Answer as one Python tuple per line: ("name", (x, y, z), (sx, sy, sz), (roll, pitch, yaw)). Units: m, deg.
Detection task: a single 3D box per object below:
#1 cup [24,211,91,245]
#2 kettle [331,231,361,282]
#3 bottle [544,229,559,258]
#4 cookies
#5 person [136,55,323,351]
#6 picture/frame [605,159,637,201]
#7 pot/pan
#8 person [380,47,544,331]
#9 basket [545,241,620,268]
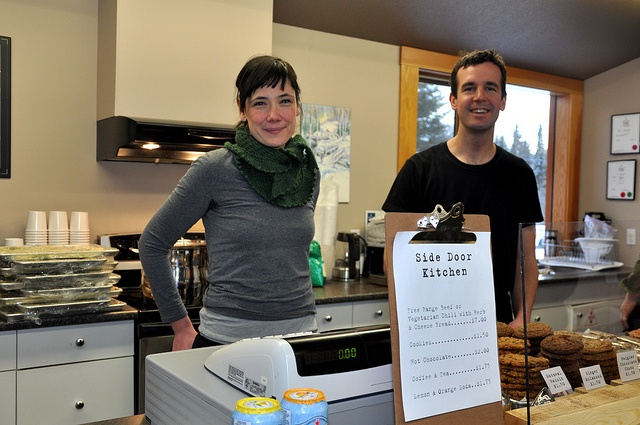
("cup", (-1.517, 0.087, 2.747), (0.317, 0.190, 0.123), (-1, 2, -30))
("kettle", (0.194, 0.314, 3.518), (0.204, 0.345, 0.270), (0, 2, 4))
("bottle", (0.720, 0.094, 1.486), (0.023, 0.089, 0.077), (2, 3, 42))
("cookies", (0.693, 0.436, 1.386), (0.329, 0.178, 0.277), (0, 2, 18))
("person", (-0.346, -0.028, 1.845), (0.662, 1.154, 0.328), (0, 2, 2))
("picture/frame", (2.794, -0.306, 4.404), (0.040, 0.380, 0.234), (-2, 3, -43))
("pot/pan", (-0.853, 0.311, 2.864), (0.421, 0.410, 0.409), (-2, 4, -45))
("person", (0.595, -0.110, 1.964), (0.649, 1.072, 0.244), (0, 2, 11))
("basket", (0.853, 0.131, 1.529), (0.147, 0.056, 0.145), (-2, -1, 21))
